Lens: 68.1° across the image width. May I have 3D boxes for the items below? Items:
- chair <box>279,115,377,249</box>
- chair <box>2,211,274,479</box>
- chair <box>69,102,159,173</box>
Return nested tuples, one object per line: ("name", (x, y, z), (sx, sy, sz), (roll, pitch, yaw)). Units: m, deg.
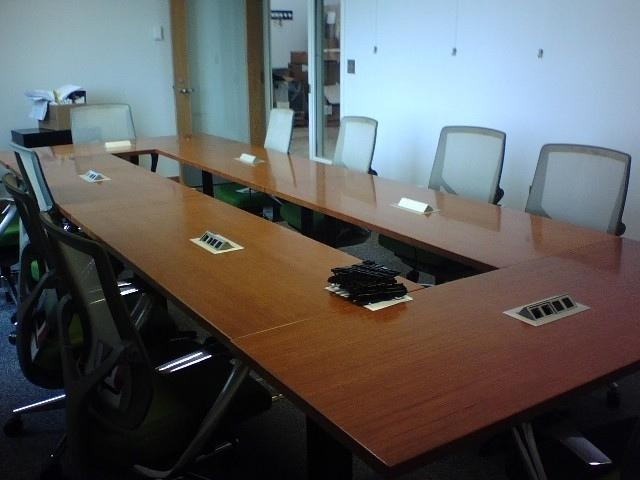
("chair", (0.066, -0.406, 4.126), (0.820, 1.199, 0.790), (-21, 28, -32))
("chair", (-0.650, 0.335, 1.983), (0.868, 1.242, 0.851), (-13, 23, -36))
("chair", (-2.039, -0.905, 4.810), (0.724, 0.972, 0.641), (10, 19, 36))
